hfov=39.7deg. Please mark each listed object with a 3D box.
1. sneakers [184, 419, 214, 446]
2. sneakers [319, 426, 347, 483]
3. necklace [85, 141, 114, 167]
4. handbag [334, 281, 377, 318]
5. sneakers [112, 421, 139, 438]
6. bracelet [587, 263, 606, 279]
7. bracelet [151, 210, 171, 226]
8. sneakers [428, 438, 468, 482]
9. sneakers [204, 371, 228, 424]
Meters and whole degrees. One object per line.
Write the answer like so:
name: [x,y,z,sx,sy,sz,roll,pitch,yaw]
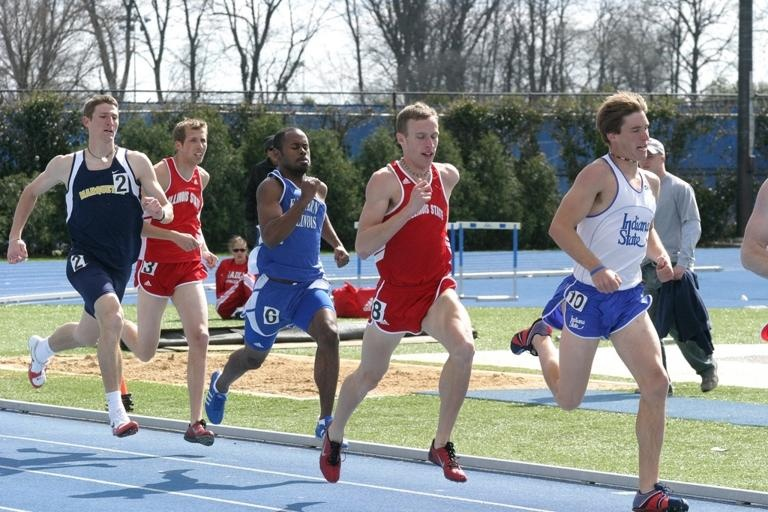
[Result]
sneakers: [-1.591,1.532,9.218,0.147,0.165,0.326,14,-17,-42]
sneakers: [-0.418,1.624,8.659,0.150,0.455,0.176,3,-16,-24]
necklace: [-2.547,-0.891,9.521,0.187,0.260,0.142,2,2,-6]
handbag: [-0.475,0.711,16.197,0.748,0.489,0.762,1,0,-3]
sneakers: [-2.215,1.494,9.113,0.106,0.118,0.271,3,2,-38]
bracelet: [1.634,0.113,8.137,0.103,0.028,0.105,-34,1,5]
bracelet: [-1.958,-0.338,9.432,0.128,0.103,0.054,3,-6,-11]
sneakers: [0.518,1.629,8.560,0.156,0.231,0.464,3,18,-35]
sneakers: [-1.505,1.319,9.734,0.177,0.502,0.211,-5,11,-31]
